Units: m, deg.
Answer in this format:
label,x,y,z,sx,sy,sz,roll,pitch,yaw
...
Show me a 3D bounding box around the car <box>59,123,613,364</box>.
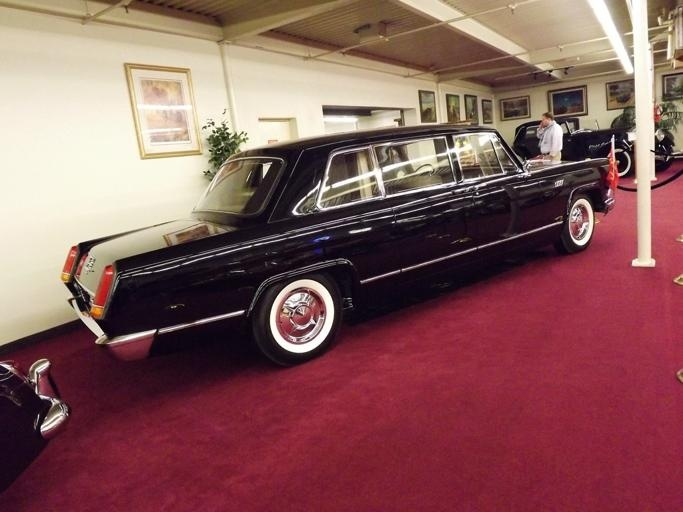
label,x,y,z,sx,sy,sz,roll,pitch,yaw
car,0.393,-0.568,4.099,5.276,1.240,2.010,-17,21,-25
